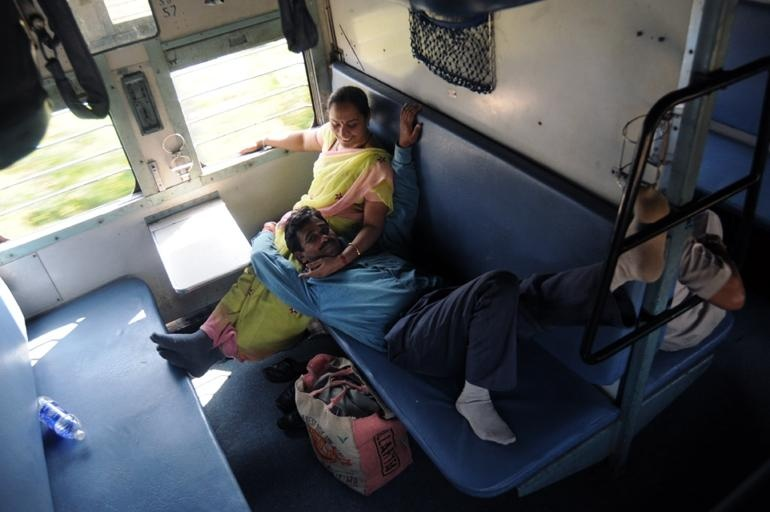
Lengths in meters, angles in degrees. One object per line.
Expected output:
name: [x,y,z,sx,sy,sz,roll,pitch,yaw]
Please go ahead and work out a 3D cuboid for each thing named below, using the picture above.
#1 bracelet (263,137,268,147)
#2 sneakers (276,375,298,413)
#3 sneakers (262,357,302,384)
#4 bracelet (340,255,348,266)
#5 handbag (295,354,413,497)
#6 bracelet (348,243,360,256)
bracelet: [-0.915,-0.862,4.061,0.052,0.051,0.051,0,27,-4]
sneakers: [-0.657,0.900,3.452,0.164,0.063,0.160,-59,16,-16]
sneakers: [-0.699,0.789,3.613,0.256,0.101,0.137,-10,53,-20]
bracelet: [-0.261,0.029,3.393,0.039,0.016,0.067,-30,78,-17]
handbag: [-0.228,0.980,3.161,0.397,0.648,0.688,-30,35,-35]
bracelet: [-0.190,-0.038,3.460,0.022,0.082,0.065,-44,0,-4]
